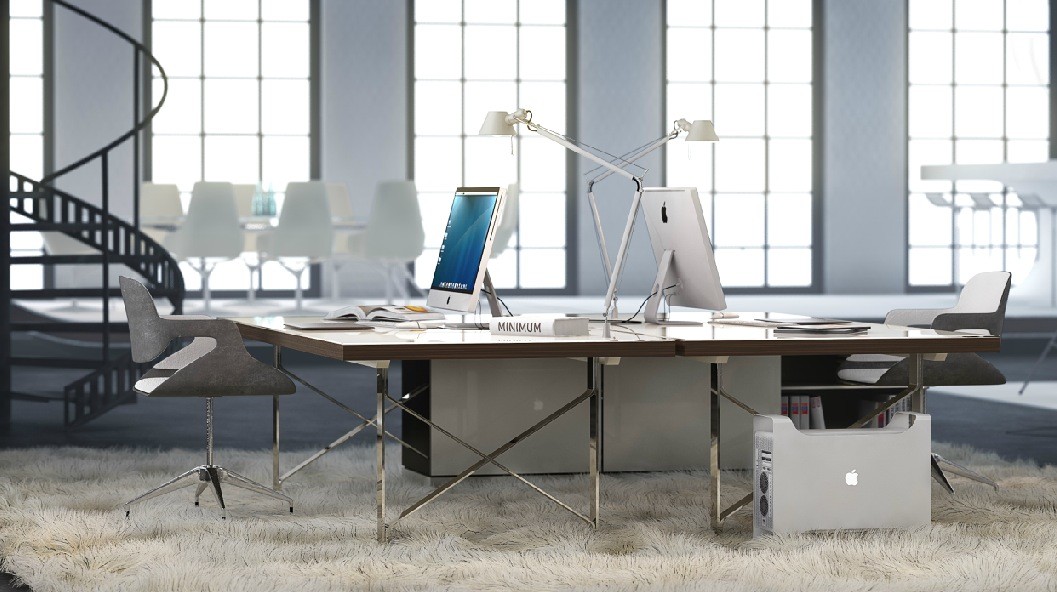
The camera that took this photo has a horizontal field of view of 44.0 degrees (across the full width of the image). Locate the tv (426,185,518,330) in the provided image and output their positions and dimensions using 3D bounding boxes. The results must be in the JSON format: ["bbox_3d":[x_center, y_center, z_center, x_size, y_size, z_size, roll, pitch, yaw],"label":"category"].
[{"bbox_3d":[-0.357,-0.266,7.500,0.252,0.714,0.464,-1,2,-36],"label":"tv"}]

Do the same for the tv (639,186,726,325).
[{"bbox_3d":[0.897,-0.241,7.671,0.614,0.788,0.184,1,2,39],"label":"tv"}]
